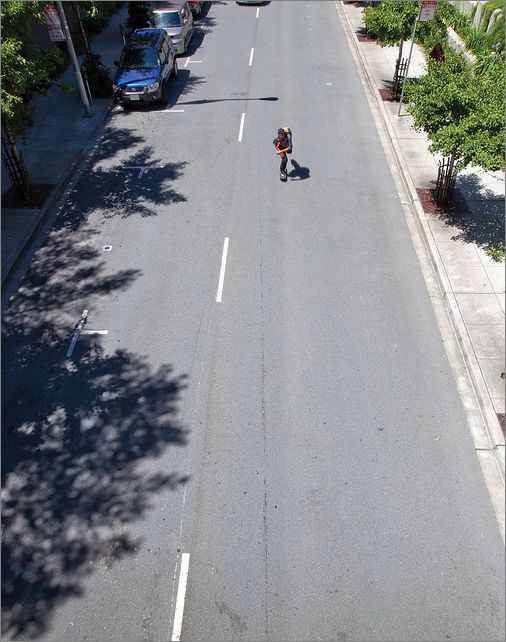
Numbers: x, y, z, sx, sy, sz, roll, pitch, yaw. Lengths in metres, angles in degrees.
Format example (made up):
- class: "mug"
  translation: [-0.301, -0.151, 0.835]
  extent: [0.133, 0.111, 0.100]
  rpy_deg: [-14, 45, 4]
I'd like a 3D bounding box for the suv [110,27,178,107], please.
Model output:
- class: "suv"
  translation: [-3.751, -8.769, 18.415]
  extent: [1.515, 1.797, 3.923]
  rpy_deg: [3, 51, 3]
